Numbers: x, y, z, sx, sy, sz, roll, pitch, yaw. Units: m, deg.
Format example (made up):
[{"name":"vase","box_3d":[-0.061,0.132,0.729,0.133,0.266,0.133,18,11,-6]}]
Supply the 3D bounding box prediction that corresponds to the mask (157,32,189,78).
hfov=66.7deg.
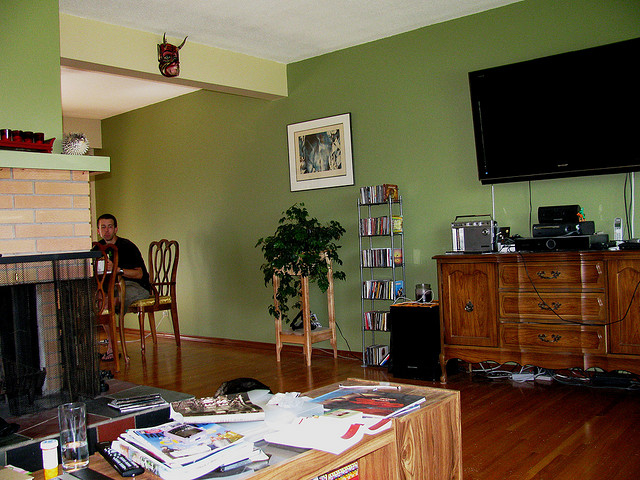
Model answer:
[{"name":"mask","box_3d":[-1.436,-1.805,4.718,0.279,0.396,0.280,-4,1,-8]}]

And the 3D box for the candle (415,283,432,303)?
[{"name":"candle","box_3d":[0.966,0.494,4.565,0.177,0.169,0.118,-1,-3,27]}]

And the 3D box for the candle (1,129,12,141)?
[{"name":"candle","box_3d":[-1.833,-0.619,2.840,0.061,0.067,0.060,4,-6,-31]}]

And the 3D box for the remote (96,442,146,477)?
[{"name":"remote","box_3d":[-0.619,0.659,1.494,0.063,0.019,0.215,0,8,-37]}]

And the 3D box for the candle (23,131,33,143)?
[{"name":"candle","box_3d":[-1.769,-0.624,2.944,0.056,0.073,0.025,-4,2,-38]}]
